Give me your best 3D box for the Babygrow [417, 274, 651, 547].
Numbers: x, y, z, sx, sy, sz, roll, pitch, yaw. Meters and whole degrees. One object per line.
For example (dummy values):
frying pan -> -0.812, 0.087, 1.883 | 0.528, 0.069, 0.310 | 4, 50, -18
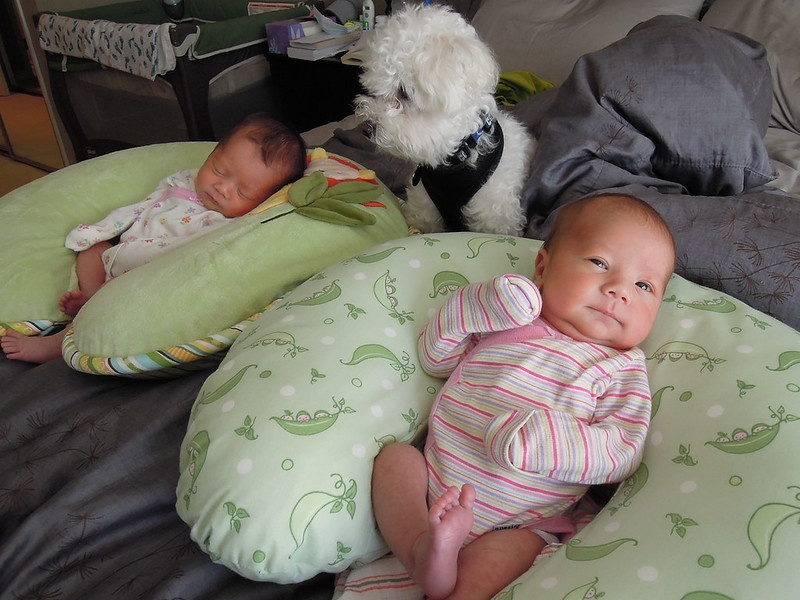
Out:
Babygrow -> 0.229, 0.196, 1.229 | 0.433, 0.194, 0.487 | -9, 60, 19

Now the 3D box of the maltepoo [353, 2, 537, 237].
maltepoo -> 0.118, -0.419, 1.789 | 0.402, 0.684, 0.416 | -24, 41, -34

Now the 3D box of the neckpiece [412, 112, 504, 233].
neckpiece -> 0.157, -0.331, 1.861 | 0.232, 0.324, 0.195 | -24, 39, -32
